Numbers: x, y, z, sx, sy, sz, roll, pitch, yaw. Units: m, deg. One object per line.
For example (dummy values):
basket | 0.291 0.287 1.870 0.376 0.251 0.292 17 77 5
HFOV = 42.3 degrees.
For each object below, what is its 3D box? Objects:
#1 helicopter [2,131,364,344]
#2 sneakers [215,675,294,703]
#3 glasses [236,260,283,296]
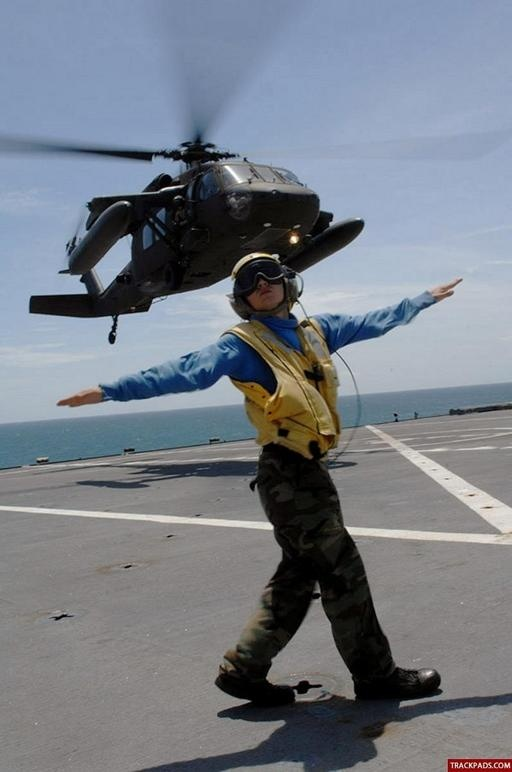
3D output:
helicopter | -1.824 -2.868 13.772 5.916 2.399 6.875 -11 -3 -39
sneakers | 0.004 1.104 2.457 0.302 0.113 0.102 0 4 3
glasses | 0.014 -0.445 2.784 0.155 0.087 0.188 -24 2 -12
